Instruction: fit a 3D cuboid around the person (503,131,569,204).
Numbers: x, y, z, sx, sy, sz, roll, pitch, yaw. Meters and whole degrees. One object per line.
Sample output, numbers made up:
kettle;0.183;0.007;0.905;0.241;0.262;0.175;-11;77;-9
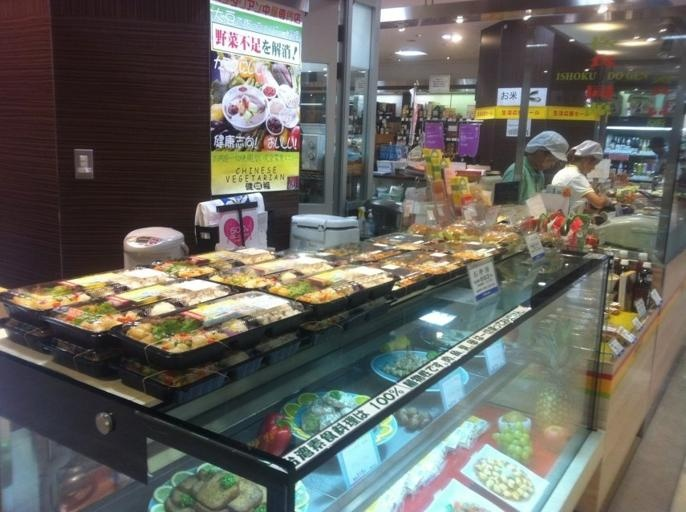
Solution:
person;1.488;-0.716;3.541;0.446;0.652;0.479;12;19;18

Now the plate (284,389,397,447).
plate;-0.031;0.336;1.030;0.215;0.028;0.194;5;6;9

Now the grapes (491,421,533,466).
grapes;0.667;0.719;1.808;0.136;0.085;0.179;34;17;16
